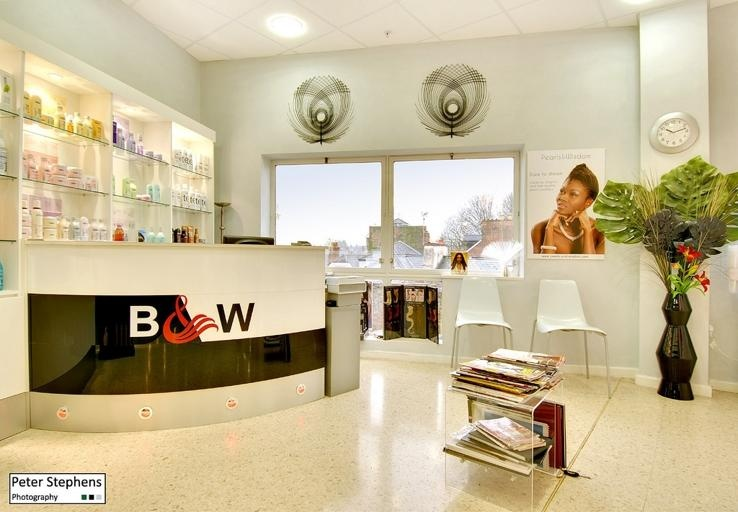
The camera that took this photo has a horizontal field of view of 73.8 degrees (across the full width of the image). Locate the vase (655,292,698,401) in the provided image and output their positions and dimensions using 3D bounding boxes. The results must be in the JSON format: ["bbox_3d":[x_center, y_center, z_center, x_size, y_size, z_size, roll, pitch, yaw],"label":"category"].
[{"bbox_3d":[3.243,0.961,5.185,0.412,1.079,0.327,10,17,33],"label":"vase"}]

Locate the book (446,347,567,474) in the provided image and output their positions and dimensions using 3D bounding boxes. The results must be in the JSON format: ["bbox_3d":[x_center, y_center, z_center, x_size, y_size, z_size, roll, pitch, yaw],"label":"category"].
[{"bbox_3d":[1.035,1.203,4.061,0.916,1.165,0.882,0,1,34],"label":"book"}]

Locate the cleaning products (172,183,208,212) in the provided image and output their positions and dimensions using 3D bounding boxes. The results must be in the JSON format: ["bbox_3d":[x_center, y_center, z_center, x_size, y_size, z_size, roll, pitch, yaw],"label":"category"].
[{"bbox_3d":[-2.244,-0.718,6.143,0.111,0.236,0.382,-2,-5,14],"label":"cleaning products"}]
